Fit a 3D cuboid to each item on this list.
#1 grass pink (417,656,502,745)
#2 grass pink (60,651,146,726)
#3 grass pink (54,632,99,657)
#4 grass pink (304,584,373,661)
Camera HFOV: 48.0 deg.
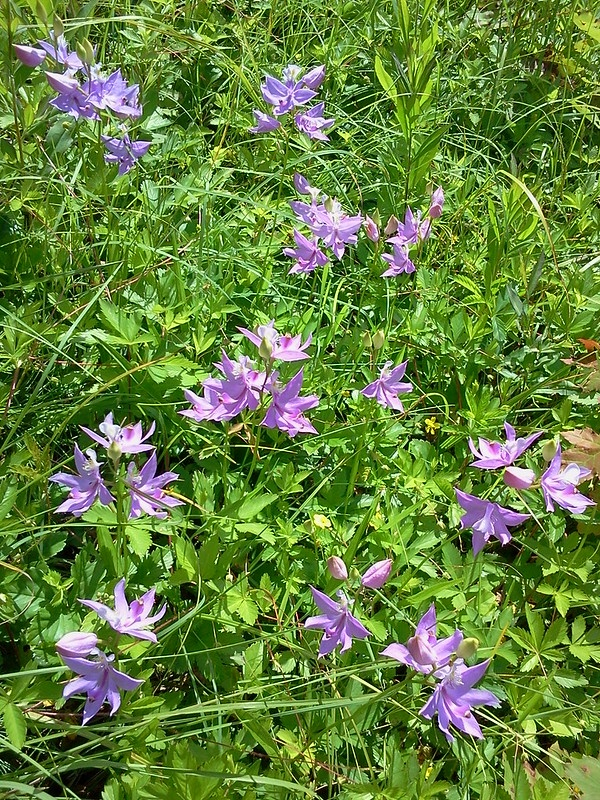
[{"bbox_3d":[0.256,0.473,1.128,0.115,0.064,0.110,-10,3,20],"label":"grass pink"},{"bbox_3d":[-0.334,0.470,1.102,0.104,0.152,0.097,39,52,18],"label":"grass pink"},{"bbox_3d":[-0.350,0.380,1.053,0.058,0.040,0.027,5,8,-35],"label":"grass pink"},{"bbox_3d":[0.077,0.388,1.204,0.051,0.113,0.090,48,23,-19],"label":"grass pink"}]
